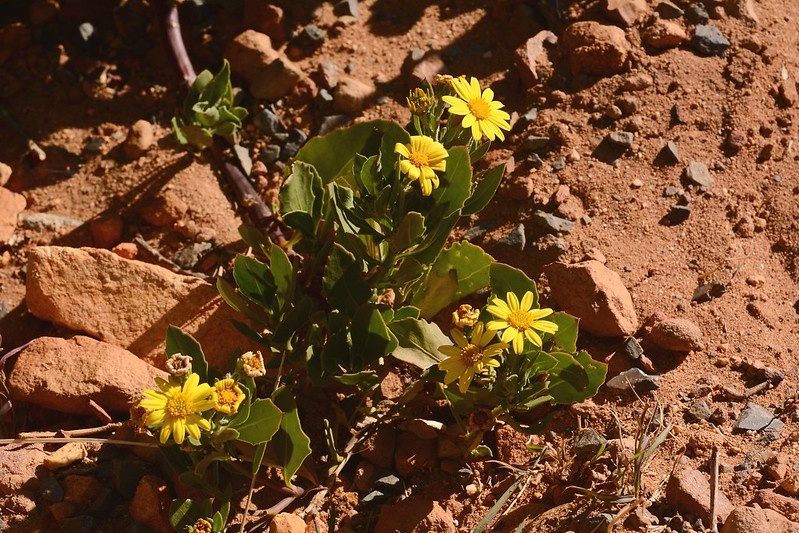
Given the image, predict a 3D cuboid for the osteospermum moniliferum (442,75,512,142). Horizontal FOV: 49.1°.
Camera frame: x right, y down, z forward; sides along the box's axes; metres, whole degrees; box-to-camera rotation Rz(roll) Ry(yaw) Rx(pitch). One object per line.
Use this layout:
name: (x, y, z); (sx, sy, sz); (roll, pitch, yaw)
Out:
osteospermum moniliferum: (0.379, -0.753, 4.163); (0.338, 0.203, 0.278); (12, 45, -10)

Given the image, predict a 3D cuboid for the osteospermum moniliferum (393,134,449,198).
osteospermum moniliferum: (0.116, -0.483, 4.028); (0.225, 0.183, 0.197); (32, 45, 11)

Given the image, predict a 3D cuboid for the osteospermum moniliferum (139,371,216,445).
osteospermum moniliferum: (-0.952, 0.646, 3.909); (0.316, 0.236, 0.246); (3, 47, -18)
